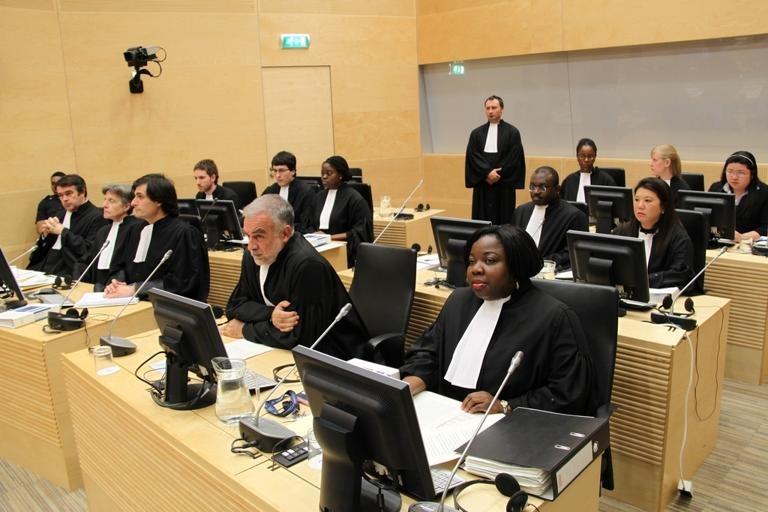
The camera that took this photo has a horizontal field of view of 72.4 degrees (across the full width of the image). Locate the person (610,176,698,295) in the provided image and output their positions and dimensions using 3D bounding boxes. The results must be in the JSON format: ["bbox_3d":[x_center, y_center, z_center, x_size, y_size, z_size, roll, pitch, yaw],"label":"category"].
[{"bbox_3d":[2.354,-0.143,4.767,0.828,1.132,0.857,-12,16,-26],"label":"person"}]

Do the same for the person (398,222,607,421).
[{"bbox_3d":[0.721,0.527,3.565,1.058,1.372,1.666,-2,5,-39],"label":"person"}]

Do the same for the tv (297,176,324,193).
[{"bbox_3d":[-1.127,-1.087,7.969,0.409,0.210,0.398,1,-27,2],"label":"tv"}]

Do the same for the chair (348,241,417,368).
[{"bbox_3d":[0.014,0.327,4.396,0.512,1.042,0.510,-8,25,-23],"label":"chair"}]

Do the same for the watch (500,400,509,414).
[{"bbox_3d":[0.679,0.854,2.983,0.037,0.056,0.062,-1,-18,5],"label":"watch"}]

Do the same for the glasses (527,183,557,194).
[{"bbox_3d":[1.696,-0.727,5.545,0.282,0.108,0.153,0,13,12],"label":"glasses"}]

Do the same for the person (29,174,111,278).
[{"bbox_3d":[-4.196,-0.366,6.907,0.851,1.327,0.717,1,21,1],"label":"person"}]

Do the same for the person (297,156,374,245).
[{"bbox_3d":[-0.521,-0.665,7.244,0.936,1.329,0.899,12,21,28],"label":"person"}]

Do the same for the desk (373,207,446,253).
[{"bbox_3d":[0.346,-0.682,7.960,0.631,0.732,1.195,6,11,36],"label":"desk"}]

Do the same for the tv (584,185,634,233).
[{"bbox_3d":[2.474,-0.519,5.750,0.577,0.599,0.218,16,37,39],"label":"tv"}]

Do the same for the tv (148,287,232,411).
[{"bbox_3d":[-1.172,0.547,3.100,0.358,0.646,0.657,-12,25,-28],"label":"tv"}]

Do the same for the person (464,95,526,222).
[{"bbox_3d":[2.021,-1.562,9.110,0.998,2.643,0.957,14,20,30],"label":"person"}]

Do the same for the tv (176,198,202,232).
[{"bbox_3d":[-2.207,-0.460,5.920,0.416,0.407,0.136,8,19,38],"label":"tv"}]
